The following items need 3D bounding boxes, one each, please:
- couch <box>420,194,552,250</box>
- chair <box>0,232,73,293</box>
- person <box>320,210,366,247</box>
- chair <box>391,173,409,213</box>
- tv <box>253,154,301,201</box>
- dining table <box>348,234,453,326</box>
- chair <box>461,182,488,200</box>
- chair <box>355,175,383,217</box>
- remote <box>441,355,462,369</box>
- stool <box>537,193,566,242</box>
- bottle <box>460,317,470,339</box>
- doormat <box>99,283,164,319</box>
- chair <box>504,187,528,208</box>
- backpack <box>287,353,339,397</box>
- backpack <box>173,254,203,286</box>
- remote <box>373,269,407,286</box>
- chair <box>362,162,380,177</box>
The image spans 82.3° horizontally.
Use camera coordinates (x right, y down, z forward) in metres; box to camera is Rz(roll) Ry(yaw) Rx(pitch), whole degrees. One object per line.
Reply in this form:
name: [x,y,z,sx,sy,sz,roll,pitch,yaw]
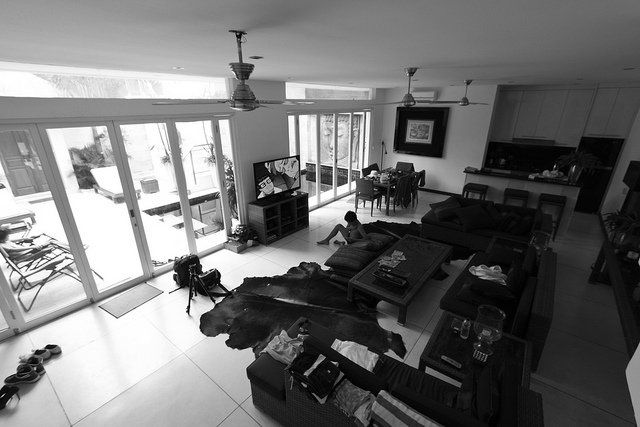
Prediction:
couch: [3.439,0.078,7.635,2.537,0.980,1.107,11,40,26]
chair: [-4.705,0.757,6.000,0.607,0.809,0.486,-27,73,-43]
person: [0.335,0.343,7.613,1.027,0.780,0.522,-11,31,-24]
chair: [2.114,-0.541,9.687,0.325,0.977,0.540,17,28,39]
tv: [-1.020,-0.804,8.144,0.048,0.638,1.039,16,27,38]
dining table: [1.523,1.039,6.604,1.131,0.418,2.032,17,34,31]
chair: [3.983,-0.556,9.517,0.530,0.533,0.501,17,51,23]
chair: [1.302,-0.473,9.764,0.687,1.162,0.746,19,43,30]
remote: [1.664,1.863,4.625,0.269,0.027,0.085,24,44,35]
stool: [5.219,0.085,8.572,0.622,1.069,0.668,11,18,25]
bottle: [1.949,1.540,4.914,0.119,0.268,0.113,-3,28,2]
doormat: [-3.315,1.489,6.426,0.696,0.029,0.947,17,30,41]
chair: [4.715,-0.480,8.965,0.531,0.542,0.440,14,35,27]
backpack: [-0.084,1.904,4.384,0.539,0.325,0.346,12,25,34]
backpack: [-2.392,1.024,6.575,0.313,0.385,0.367,37,49,28]
remote: [1.145,1.049,6.049,0.475,0.105,0.182,22,39,30]
chair: [1.454,-1.276,10.658,0.354,0.592,0.338,17,42,27]
